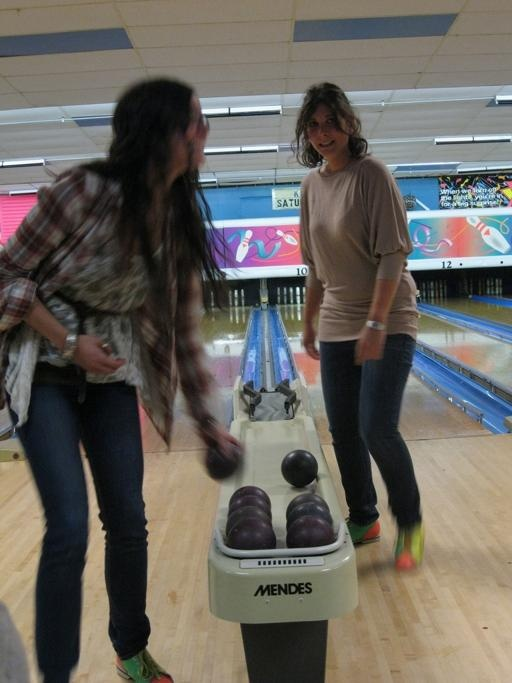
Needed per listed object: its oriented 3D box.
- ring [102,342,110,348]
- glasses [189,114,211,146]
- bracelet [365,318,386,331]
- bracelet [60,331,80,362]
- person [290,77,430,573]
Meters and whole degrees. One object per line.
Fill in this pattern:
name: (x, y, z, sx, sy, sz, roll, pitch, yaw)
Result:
ring: (-0.227, 0.004, 0.741, 0.003, 0.008, 0.011, -35, 16, -9)
glasses: (-0.086, -0.338, 0.790, 0.018, 0.048, 0.035, 6, 0, -16)
bracelet: (0.269, -0.038, 1.117, 0.041, 0.021, 0.042, 15, -7, -35)
bracelet: (-0.263, 0.006, 0.699, 0.024, 0.040, 0.036, 8, 12, -8)
person: (0.241, -0.049, 1.333, 0.269, 1.206, 0.456, -6, 7, -31)
